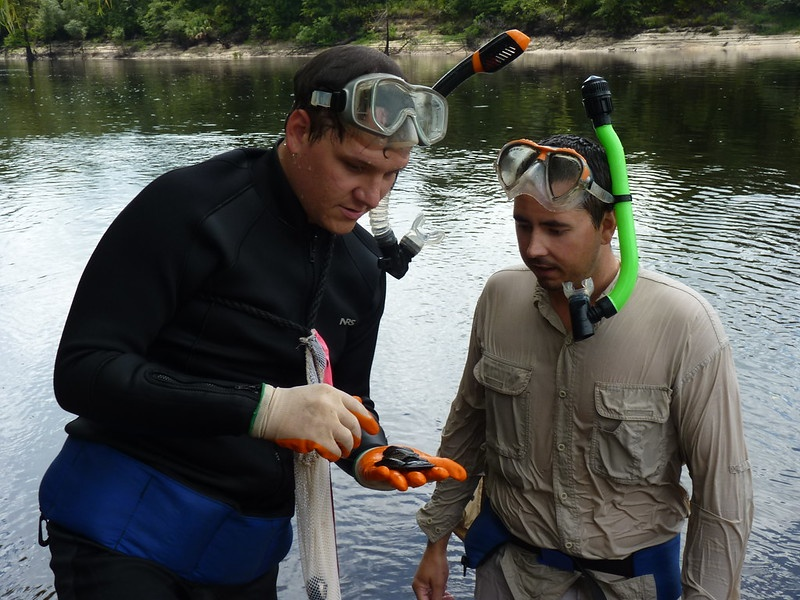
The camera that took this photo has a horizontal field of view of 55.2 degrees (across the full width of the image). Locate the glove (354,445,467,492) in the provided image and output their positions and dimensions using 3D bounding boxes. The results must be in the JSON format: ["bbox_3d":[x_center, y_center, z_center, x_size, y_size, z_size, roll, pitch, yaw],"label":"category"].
[{"bbox_3d":[0.015,0.566,2.597,0.260,0.126,0.422,-6,1,-19],"label":"glove"}]

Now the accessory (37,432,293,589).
[{"bbox_3d":[-0.736,0.683,2.513,0.660,0.230,0.485,28,-8,-17],"label":"accessory"}]

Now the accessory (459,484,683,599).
[{"bbox_3d":[0.625,0.856,2.820,0.524,0.399,0.186,-9,49,35],"label":"accessory"}]

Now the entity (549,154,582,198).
[{"bbox_3d":[0.558,-0.413,2.575,0.111,0.127,0.098,-1,15,11],"label":"entity"}]
